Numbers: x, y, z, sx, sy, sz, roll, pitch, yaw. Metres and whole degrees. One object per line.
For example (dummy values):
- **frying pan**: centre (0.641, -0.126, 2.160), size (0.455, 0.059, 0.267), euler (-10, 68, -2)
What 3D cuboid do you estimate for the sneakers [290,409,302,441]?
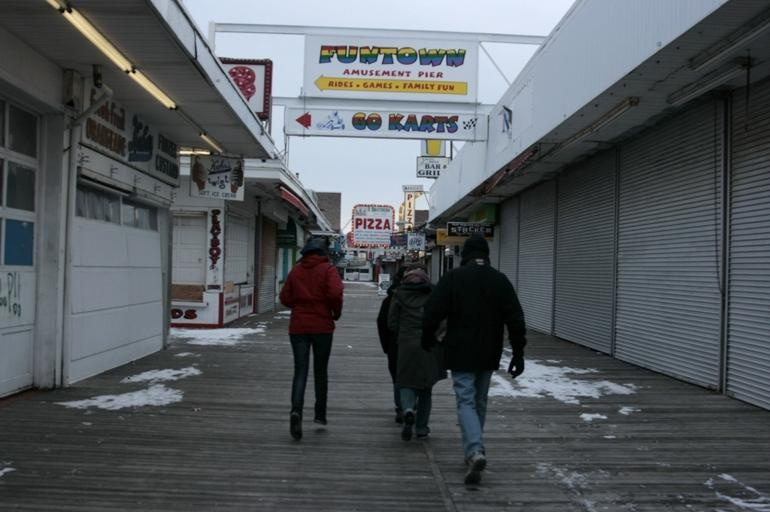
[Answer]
- **sneakers**: centre (-1.114, 2.146, 9.125), size (0.129, 0.367, 0.156), euler (-2, 0, 6)

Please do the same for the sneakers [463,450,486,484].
- **sneakers**: centre (1.025, 2.397, 8.219), size (0.169, 0.459, 0.208), euler (8, 27, 0)

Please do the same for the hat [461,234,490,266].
- **hat**: centre (1.119, -0.064, 8.856), size (0.330, 0.369, 0.369), euler (2, 3, 6)
